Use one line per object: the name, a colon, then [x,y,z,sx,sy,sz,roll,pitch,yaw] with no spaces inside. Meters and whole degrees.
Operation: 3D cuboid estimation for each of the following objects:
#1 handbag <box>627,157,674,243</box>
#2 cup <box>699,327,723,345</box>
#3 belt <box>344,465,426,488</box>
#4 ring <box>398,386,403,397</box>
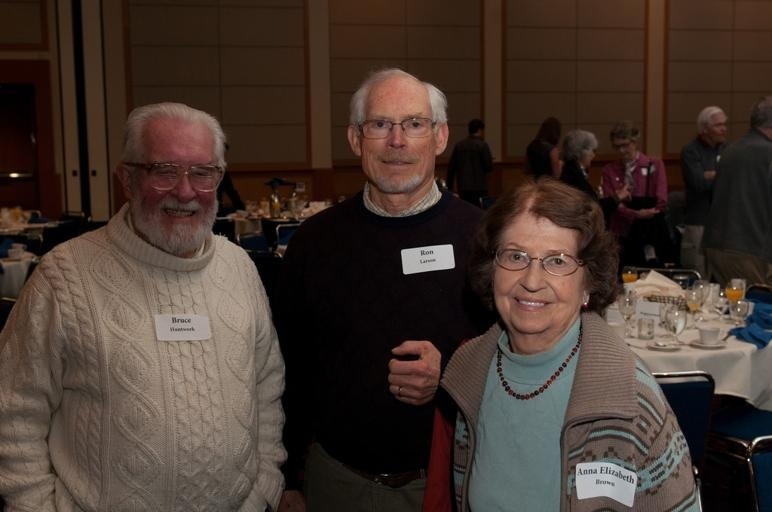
handbag: [2.363,-0.529,6.170,0.442,0.814,0.194,1,-18,-4]
cup: [1.826,0.450,3.839,0.088,0.076,0.108,3,-8,-36]
belt: [-0.006,0.879,2.714,0.315,0.071,0.043,-2,10,7]
ring: [0.057,0.530,2.667,0.006,0.027,0.028,2,-1,-28]
